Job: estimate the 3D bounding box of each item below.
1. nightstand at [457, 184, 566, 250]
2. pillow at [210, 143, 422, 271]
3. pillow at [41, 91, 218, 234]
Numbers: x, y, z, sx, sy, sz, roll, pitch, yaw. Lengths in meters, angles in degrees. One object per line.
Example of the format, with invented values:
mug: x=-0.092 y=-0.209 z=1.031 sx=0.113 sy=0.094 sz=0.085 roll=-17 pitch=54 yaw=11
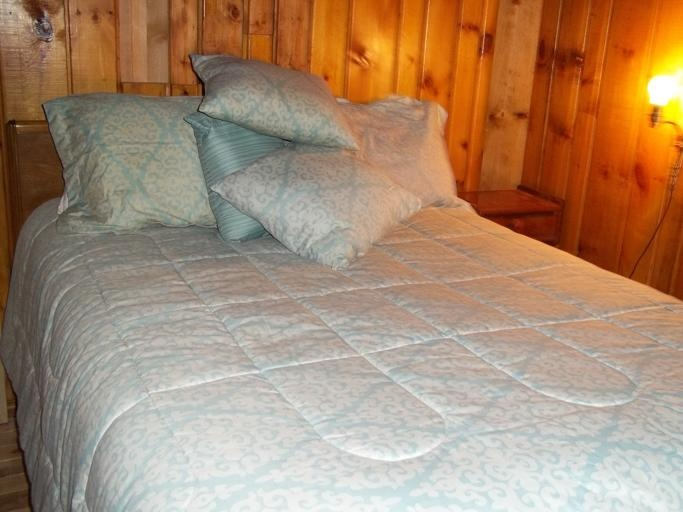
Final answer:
nightstand: x=1.117 y=-0.345 z=3.310 sx=0.662 sy=0.355 sz=0.518 roll=10 pitch=36 yaw=23
pillow: x=-0.105 y=-0.218 z=1.957 sx=0.814 sy=0.152 sz=0.632 roll=-12 pitch=48 yaw=-23
pillow: x=-0.803 y=-0.355 z=2.038 sx=0.526 sy=0.463 sz=0.400 roll=-5 pitch=22 yaw=-23
